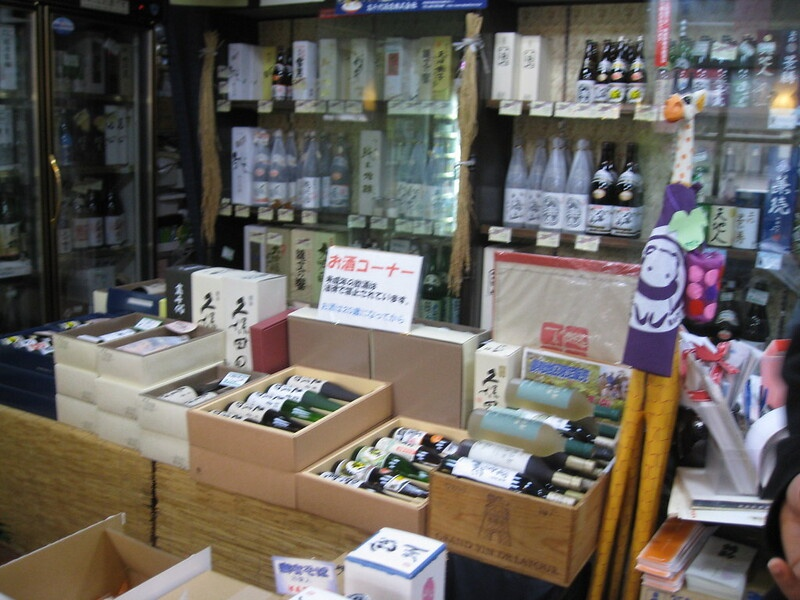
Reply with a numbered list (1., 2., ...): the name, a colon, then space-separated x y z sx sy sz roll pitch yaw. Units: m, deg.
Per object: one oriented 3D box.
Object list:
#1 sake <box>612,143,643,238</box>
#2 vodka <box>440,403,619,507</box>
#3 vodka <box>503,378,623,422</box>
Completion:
1. sake: 1.083 -0.504 2.921 0.146 0.482 0.130 15 26 41
2. vodka: 0.344 0.426 1.722 0.430 0.137 0.306 8 14 31
3. vodka: 0.507 0.278 2.010 0.248 0.114 0.351 6 9 39
